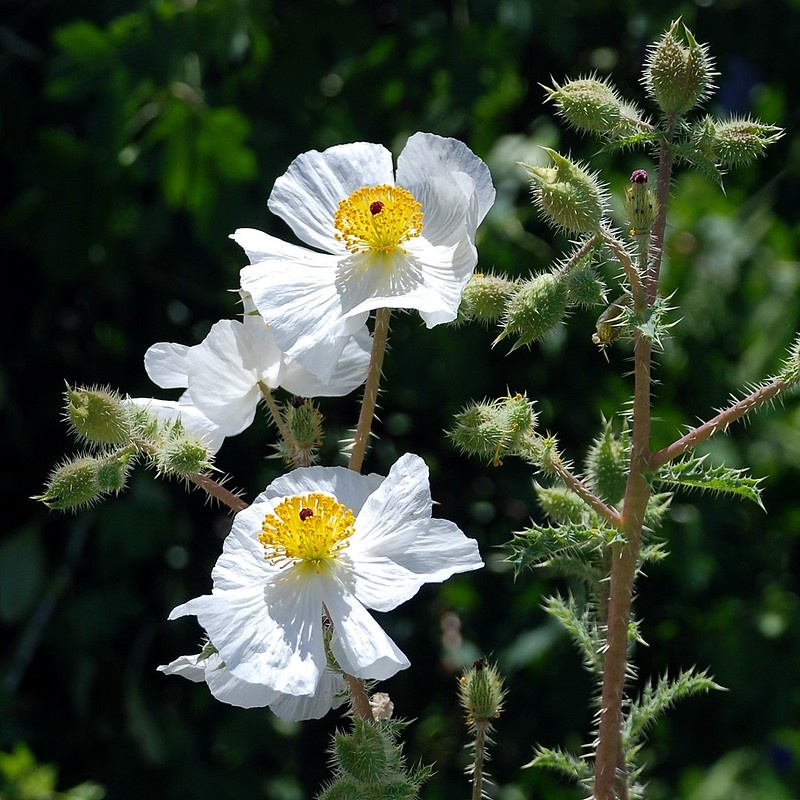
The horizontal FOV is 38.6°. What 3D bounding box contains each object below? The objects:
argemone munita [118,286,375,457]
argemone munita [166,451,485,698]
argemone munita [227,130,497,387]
[{"bbox_3d":[-0.317,-0.048,2.361,0.362,0.193,0.393,-20,86,1],"label":"argemone munita"},{"bbox_3d":[-0.162,0.298,2.221,0.457,0.571,0.249,-4,96,14],"label":"argemone munita"},{"bbox_3d":[-0.038,-0.382,2.438,0.486,0.569,0.262,8,79,-15],"label":"argemone munita"}]
